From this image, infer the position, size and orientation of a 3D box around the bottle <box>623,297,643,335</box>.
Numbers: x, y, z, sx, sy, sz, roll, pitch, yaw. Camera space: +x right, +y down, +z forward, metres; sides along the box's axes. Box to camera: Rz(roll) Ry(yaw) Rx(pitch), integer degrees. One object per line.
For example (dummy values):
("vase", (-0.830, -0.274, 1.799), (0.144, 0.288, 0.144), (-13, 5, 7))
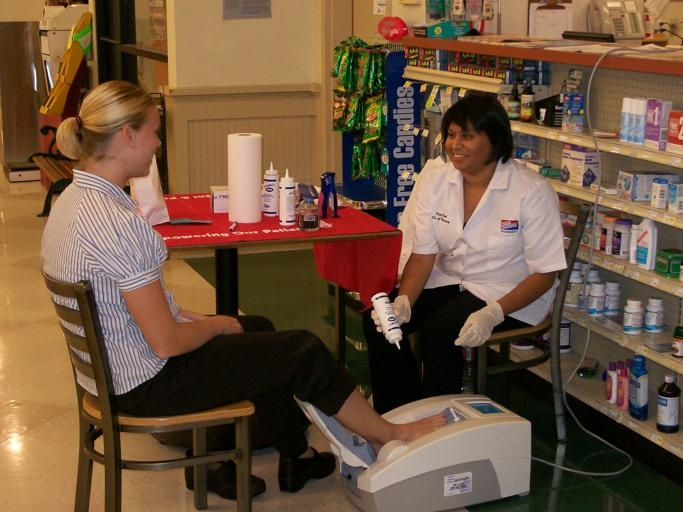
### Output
("bottle", (1.375, 0.278, 2.915), (0.091, 0.158, 0.077), (2, 13, 14))

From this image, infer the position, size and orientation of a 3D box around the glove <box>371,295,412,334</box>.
("glove", (0.201, 0.270, 2.678), (0.132, 0.080, 0.190), (12, 28, -31))

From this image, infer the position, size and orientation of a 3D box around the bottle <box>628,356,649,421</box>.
("bottle", (1.401, 0.597, 2.921), (0.097, 0.289, 0.191), (5, 14, 28))

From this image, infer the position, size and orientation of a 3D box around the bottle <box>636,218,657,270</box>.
("bottle", (1.390, -0.054, 2.816), (0.071, 0.221, 0.121), (-2, 12, -4))

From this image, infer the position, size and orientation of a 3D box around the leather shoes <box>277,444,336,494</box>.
("leather shoes", (-0.148, 0.905, 2.777), (0.118, 0.142, 0.296), (12, 22, 38))

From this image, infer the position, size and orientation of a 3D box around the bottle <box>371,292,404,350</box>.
("bottle", (0.181, 0.241, 2.490), (0.080, 0.299, 0.088), (-11, -30, -7))

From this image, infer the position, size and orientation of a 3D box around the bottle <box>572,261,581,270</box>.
("bottle", (1.232, 0.049, 3.259), (0.057, 0.024, 0.061), (-2, 24, 1))

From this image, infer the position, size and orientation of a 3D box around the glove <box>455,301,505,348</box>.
("glove", (0.600, 0.303, 2.651), (0.136, 0.242, 0.084), (28, 10, 21))

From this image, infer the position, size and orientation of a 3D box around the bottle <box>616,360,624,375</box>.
("bottle", (1.351, 0.539, 2.989), (0.047, 0.059, 0.050), (0, 6, 0))

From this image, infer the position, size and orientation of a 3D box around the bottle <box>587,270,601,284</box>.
("bottle", (1.302, 0.104, 3.209), (0.072, 0.078, 0.076), (0, 3, -2))

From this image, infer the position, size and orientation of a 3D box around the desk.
("desk", (-0.352, 0.302, 3.275), (1.163, 0.978, 1.209), (-2, 10, -21))

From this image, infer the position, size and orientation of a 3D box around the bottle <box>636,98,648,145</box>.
("bottle", (1.334, -0.604, 2.765), (0.028, 0.192, 0.049), (-9, 15, -34))

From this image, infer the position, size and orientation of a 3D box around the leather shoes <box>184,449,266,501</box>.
("leather shoes", (-0.518, 0.946, 2.713), (0.372, 0.179, 0.155), (5, 19, 19))

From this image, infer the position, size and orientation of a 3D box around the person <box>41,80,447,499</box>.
("person", (-0.447, 0.255, 2.226), (1.060, 1.721, 0.553), (-8, 14, -28))
